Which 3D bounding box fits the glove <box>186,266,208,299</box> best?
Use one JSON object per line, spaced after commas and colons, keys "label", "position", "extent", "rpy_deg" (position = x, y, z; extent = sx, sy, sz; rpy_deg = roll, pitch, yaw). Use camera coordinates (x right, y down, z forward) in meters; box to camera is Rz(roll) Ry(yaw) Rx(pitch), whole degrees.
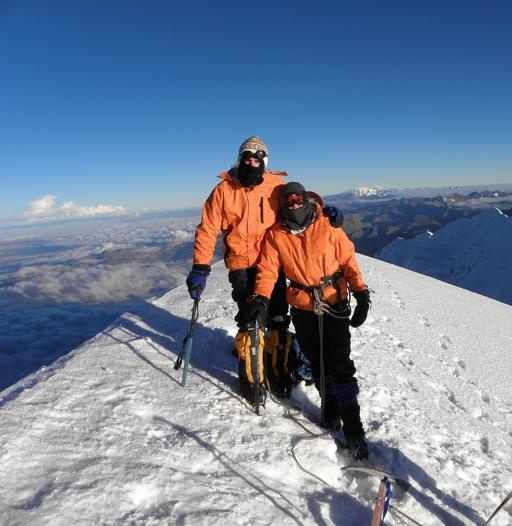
{"label": "glove", "position": [-0.715, 0.221, 5.066], "extent": [0.160, 0.385, 0.266], "rpy_deg": [30, -18, -38]}

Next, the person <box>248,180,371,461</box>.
{"label": "person", "position": [0.719, 0.497, 4.833], "extent": [1.434, 2.748, 0.982], "rpy_deg": [10, 16, 32]}

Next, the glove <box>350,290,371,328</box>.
{"label": "glove", "position": [1.158, 0.503, 4.717], "extent": [0.272, 0.388, 0.161], "rpy_deg": [2, -6, 22]}

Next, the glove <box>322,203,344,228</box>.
{"label": "glove", "position": [0.856, -0.520, 4.816], "extent": [0.256, 0.226, 0.246], "rpy_deg": [5, 13, 16]}

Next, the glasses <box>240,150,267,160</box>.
{"label": "glasses", "position": [-0.037, -1.267, 5.004], "extent": [0.308, 0.091, 0.124], "rpy_deg": [0, 12, -4]}

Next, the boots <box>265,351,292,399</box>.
{"label": "boots", "position": [0.265, 1.443, 5.451], "extent": [0.246, 0.265, 0.682], "rpy_deg": [-3, 48, -2]}
